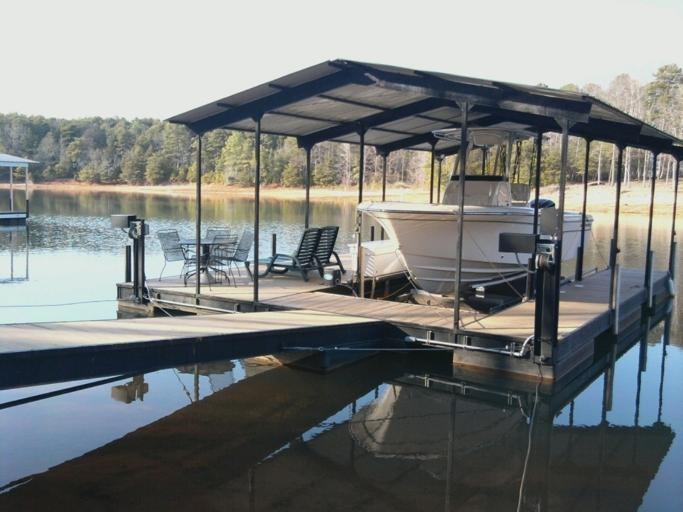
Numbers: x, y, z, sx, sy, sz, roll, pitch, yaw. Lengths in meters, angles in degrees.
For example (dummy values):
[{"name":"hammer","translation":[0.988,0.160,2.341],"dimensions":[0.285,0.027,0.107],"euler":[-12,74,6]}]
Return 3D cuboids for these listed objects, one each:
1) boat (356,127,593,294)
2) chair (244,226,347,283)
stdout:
[{"name":"boat","translation":[3.315,-0.596,14.820],"dimensions":[2.225,2.872,7.038],"euler":[3,4,45]},{"name":"chair","translation":[-0.857,-0.061,13.274],"dimensions":[1.545,0.750,1.233],"euler":[4,6,40]}]
